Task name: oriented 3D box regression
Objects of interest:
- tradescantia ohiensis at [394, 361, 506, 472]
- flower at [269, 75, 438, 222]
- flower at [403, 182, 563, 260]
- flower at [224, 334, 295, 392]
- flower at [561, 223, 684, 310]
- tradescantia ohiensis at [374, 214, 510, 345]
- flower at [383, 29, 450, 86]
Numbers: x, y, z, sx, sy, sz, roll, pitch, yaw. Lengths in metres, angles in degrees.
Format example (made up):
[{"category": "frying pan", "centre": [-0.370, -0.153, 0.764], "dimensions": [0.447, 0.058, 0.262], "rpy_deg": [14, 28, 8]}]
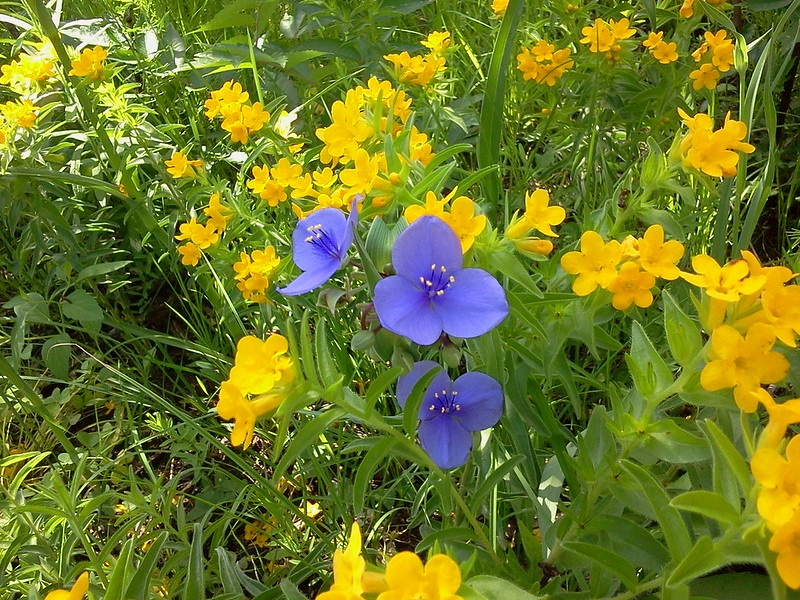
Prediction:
[{"category": "tradescantia ohiensis", "centre": [0.157, 0.302, 1.842], "dimensions": [0.240, 0.226, 0.117], "rpy_deg": [-19, 25, -25]}, {"category": "flower", "centre": [-0.155, -0.475, 2.188], "dimensions": [0.526, 0.392, 0.712], "rpy_deg": [-11, 24, -9]}, {"category": "flower", "centre": [0.244, -0.184, 1.848], "dimensions": [0.279, 0.117, 0.239], "rpy_deg": [-15, 65, -10]}, {"category": "flower", "centre": [-0.314, 0.144, 1.561], "dimensions": [0.121, 0.139, 0.068], "rpy_deg": [16, -15, 6]}, {"category": "flower", "centre": [0.577, -0.088, 1.788], "dimensions": [0.238, 0.248, 0.075], "rpy_deg": [-38, -6, 8]}, {"category": "tradescantia ohiensis", "centre": [0.092, -0.008, 1.666], "dimensions": [0.298, 0.151, 0.369], "rpy_deg": [21, 52, 24]}, {"category": "flower", "centre": [0.094, -0.954, 2.729], "dimensions": [0.188, 0.184, 0.400], "rpy_deg": [-1, 25, 15]}]
